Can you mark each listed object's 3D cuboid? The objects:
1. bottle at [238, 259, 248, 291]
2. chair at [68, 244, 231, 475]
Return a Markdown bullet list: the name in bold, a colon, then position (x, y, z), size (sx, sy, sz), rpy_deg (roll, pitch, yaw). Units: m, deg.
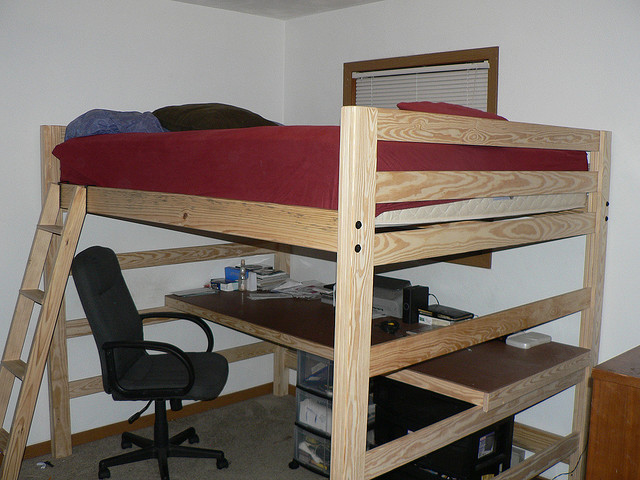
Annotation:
- **bottle**: position (-0.584, 0.256, 4.302), size (0.071, 0.214, 0.207), rpy_deg (1, 8, -8)
- **chair**: position (-1.192, 0.757, 3.956), size (1.120, 1.520, 1.423), rpy_deg (0, 8, -11)
